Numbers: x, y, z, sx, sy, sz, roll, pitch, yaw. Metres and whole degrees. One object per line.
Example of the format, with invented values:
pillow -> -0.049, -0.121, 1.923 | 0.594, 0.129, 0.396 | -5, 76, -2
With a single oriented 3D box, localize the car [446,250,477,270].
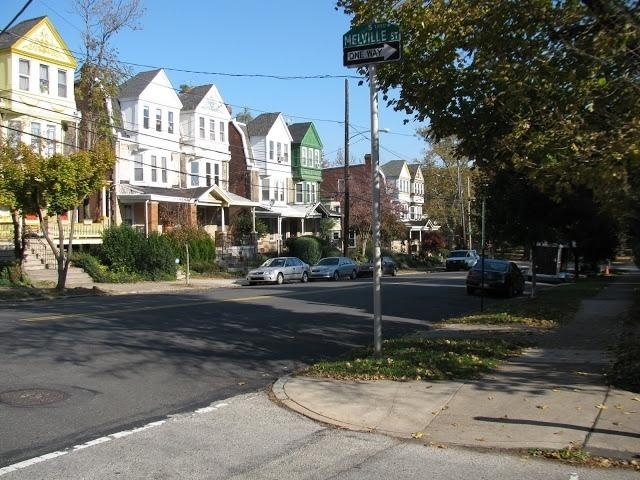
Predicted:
car -> 12.260, 1.543, 54.058 | 1.990, 1.577, 4.266 | -3, -7, 26

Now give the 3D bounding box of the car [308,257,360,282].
car -> 0.868, 1.710, 38.449 | 1.231, 0.978, 2.977 | -4, -6, 29

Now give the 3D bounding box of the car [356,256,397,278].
car -> 3.866, 1.792, 43.710 | 1.178, 1.029, 3.052 | -5, -10, 28

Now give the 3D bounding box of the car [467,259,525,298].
car -> 7.218, 1.817, 26.343 | 1.950, 1.341, 4.293 | 0, 0, 25

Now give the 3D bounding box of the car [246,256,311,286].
car -> -2.388, 1.631, 34.418 | 1.307, 1.068, 3.259 | -5, -9, 28
